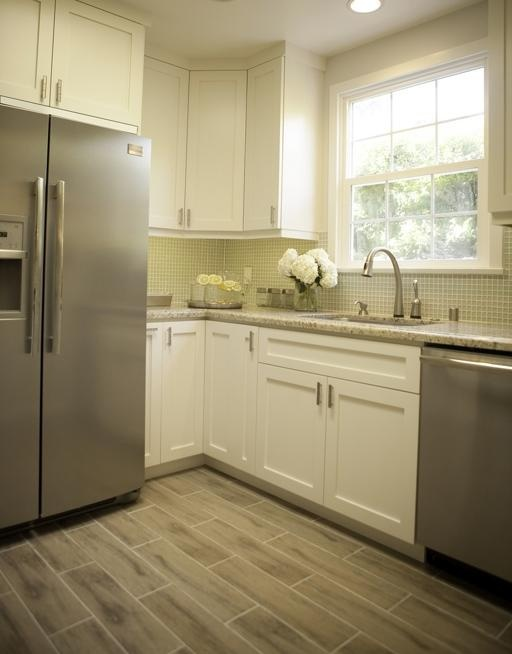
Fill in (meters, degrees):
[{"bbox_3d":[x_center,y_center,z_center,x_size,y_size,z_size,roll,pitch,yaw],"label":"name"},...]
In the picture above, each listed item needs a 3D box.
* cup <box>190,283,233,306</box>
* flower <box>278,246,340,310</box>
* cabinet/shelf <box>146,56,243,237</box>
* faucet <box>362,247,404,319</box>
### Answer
[{"bbox_3d":[-0.263,-0.182,2.870,0.156,0.079,0.166,2,1,0],"label":"cup"},{"bbox_3d":[0.278,-0.259,2.719,0.299,0.330,0.288,1,2,4],"label":"flower"},{"bbox_3d":[-0.355,-1.026,2.866,0.581,0.923,0.168,1,1,-17],"label":"cabinet/shelf"},{"bbox_3d":[0.606,-0.221,2.350,0.191,0.353,0.616,2,2,14],"label":"faucet"}]
